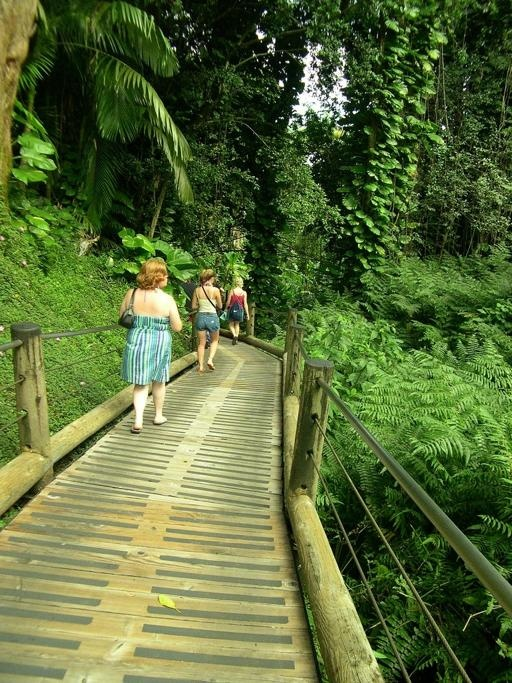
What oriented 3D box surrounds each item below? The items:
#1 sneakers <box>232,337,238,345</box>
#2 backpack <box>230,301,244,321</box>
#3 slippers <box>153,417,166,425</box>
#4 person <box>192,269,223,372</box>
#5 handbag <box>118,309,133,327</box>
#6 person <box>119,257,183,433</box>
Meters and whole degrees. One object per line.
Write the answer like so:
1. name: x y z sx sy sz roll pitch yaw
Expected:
1. sneakers: -0.424 -0.017 10.536 0.156 0.186 0.489 -1 -2 -1
2. backpack: -0.332 -0.544 9.234 0.204 0.150 0.264 22 -27 9
3. slippers: -0.853 0.703 4.790 0.061 0.048 0.116 7 18 14
4. person: -0.683 -0.258 7.197 0.385 1.444 1.502 6 9 -5
5. handbag: -1.030 -0.177 4.218 0.107 0.147 0.127 4 10 -20
6. person: -0.903 0.052 4.403 0.467 1.455 0.443 5 10 -14
